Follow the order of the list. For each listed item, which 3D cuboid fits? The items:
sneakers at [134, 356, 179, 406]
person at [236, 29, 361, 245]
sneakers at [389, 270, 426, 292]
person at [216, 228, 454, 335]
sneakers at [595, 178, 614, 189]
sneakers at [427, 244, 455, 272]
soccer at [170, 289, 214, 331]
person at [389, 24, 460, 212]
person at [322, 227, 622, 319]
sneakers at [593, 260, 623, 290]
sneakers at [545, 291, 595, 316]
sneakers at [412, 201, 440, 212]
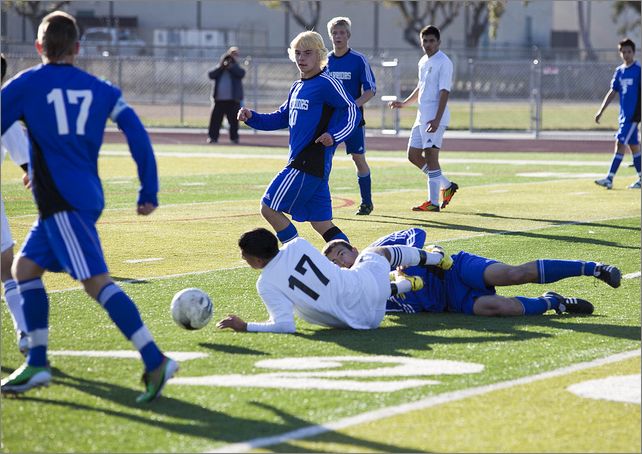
[{"bbox_3d":[-0.974,0.891,4.776,0.175,0.357,0.129,39,-3,-15],"label":"sneakers"},{"bbox_3d":[-0.189,-0.794,7.311,1.108,1.998,1.009,4,12,19],"label":"person"},{"bbox_3d":[0.679,0.409,6.150,0.188,0.076,0.182,13,9,-21],"label":"sneakers"},{"bbox_3d":[0.050,0.393,5.716,1.646,0.693,0.588,-1,-9,-6],"label":"person"},{"bbox_3d":[4.625,-0.712,13.023,0.264,0.226,0.482,4,12,18],"label":"sneakers"},{"bbox_3d":[0.945,0.249,6.126,0.183,0.089,0.185,22,14,-24],"label":"sneakers"},{"bbox_3d":[-0.893,0.575,5.510,0.327,0.315,0.315,-6,9,-7],"label":"soccer"},{"bbox_3d":[1.501,-1.538,11.278,0.838,2.588,1.139,0,11,3],"label":"person"},{"bbox_3d":[1.173,0.468,6.275,2.054,0.552,0.909,4,-14,6],"label":"person"},{"bbox_3d":[2.226,0.387,6.200,0.192,0.203,0.158,4,12,21],"label":"sneakers"},{"bbox_3d":[1.945,0.606,6.173,0.385,0.168,0.139,16,-16,12],"label":"sneakers"},{"bbox_3d":[1.466,-0.278,11.028,0.409,0.177,0.139,1,3,-4],"label":"sneakers"}]
